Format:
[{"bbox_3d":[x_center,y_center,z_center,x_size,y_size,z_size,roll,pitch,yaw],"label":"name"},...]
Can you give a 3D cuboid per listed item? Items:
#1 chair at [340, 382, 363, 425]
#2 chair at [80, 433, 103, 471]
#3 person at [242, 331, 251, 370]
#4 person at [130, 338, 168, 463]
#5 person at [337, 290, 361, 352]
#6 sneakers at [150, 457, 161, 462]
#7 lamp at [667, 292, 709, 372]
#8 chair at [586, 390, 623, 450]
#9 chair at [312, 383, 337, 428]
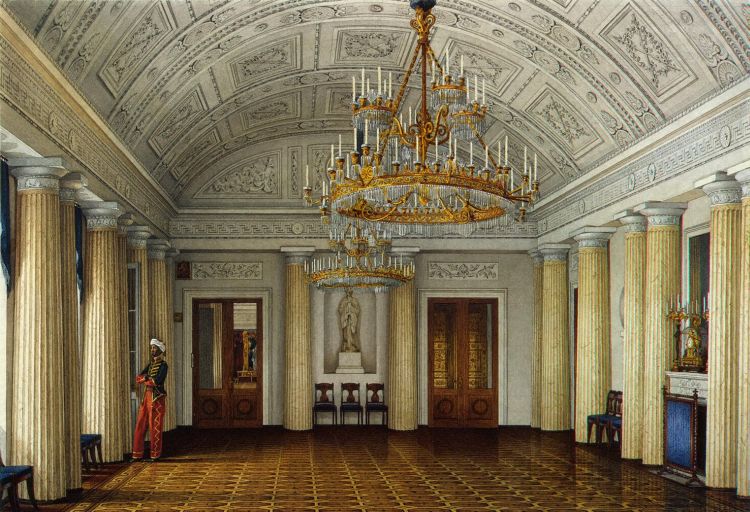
[{"bbox_3d":[-0.662,4.010,17.448,0.750,1.520,0.926,1,-13,-2],"label":"chair"},{"bbox_3d":[-5.074,3.523,11.387,0.373,0.633,1.430,4,-12,-22],"label":"chair"},{"bbox_3d":[-3.466,2.551,17.054,0.229,1.050,0.120,1,-9,-7],"label":"person"},{"bbox_3d":[-4.462,2.850,12.590,0.554,2.340,0.628,3,-10,-18],"label":"person"},{"bbox_3d":[-0.710,1.841,17.537,0.627,1.673,0.384,1,-9,-5],"label":"person"},{"bbox_3d":[-4.336,4.031,12.506,0.071,0.091,0.218,2,-18,0],"label":"sneakers"},{"bbox_3d":[5.576,1.365,11.234,0.654,1.402,1.336,-5,-11,28],"label":"lamp"},{"bbox_3d":[5.087,3.595,14.081,0.772,1.192,2.157,-3,-11,19],"label":"chair"},{"bbox_3d":[-1.340,3.959,16.989,0.656,1.121,0.528,1,-10,-6],"label":"chair"}]
